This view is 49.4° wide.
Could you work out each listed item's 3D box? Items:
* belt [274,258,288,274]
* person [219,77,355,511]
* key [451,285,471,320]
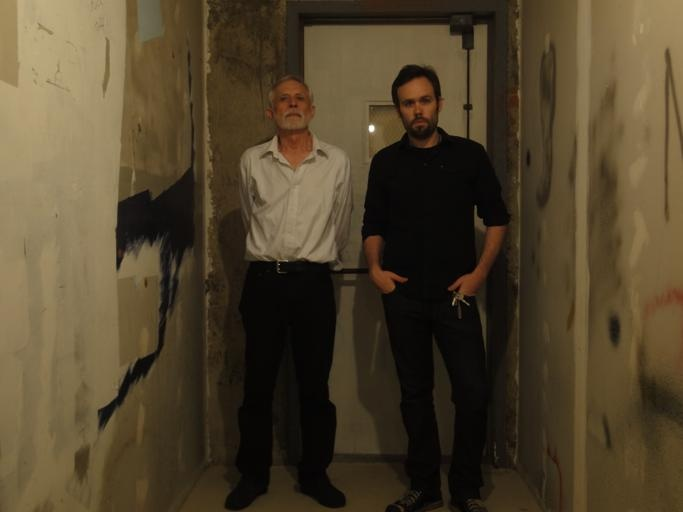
[{"bbox_3d":[-0.257,0.050,3.211,0.054,0.059,0.017,0,6,2],"label":"belt"},{"bbox_3d":[-0.231,0.146,3.303,0.560,1.892,0.343,0,5,0],"label":"person"},{"bbox_3d":[0.489,0.192,3.059,0.099,0.158,0.019,5,0,-6],"label":"key"}]
